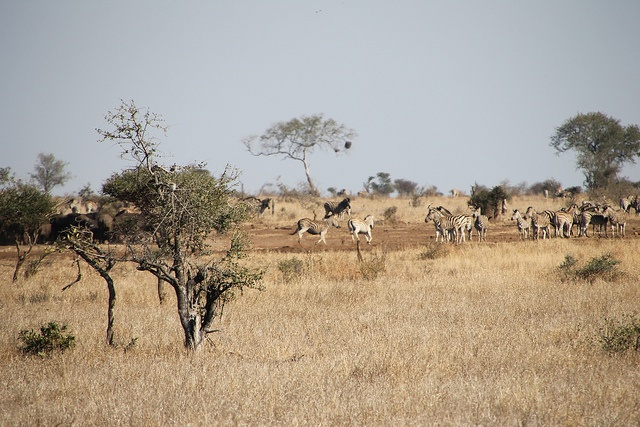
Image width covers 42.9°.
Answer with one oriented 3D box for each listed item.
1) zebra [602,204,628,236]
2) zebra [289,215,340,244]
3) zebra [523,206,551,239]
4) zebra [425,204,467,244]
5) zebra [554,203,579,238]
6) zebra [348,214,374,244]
[{"bbox_3d":[14.558,0.408,40.308,2.029,1.527,0.542,5,-5,-35],"label":"zebra"},{"bbox_3d":[-0.187,0.868,40.212,1.801,1.351,3.096,-2,-4,-8],"label":"zebra"},{"bbox_3d":[10.717,0.493,40.059,2.146,1.679,0.569,4,0,-39],"label":"zebra"},{"bbox_3d":[6.093,0.526,39.104,2.149,1.705,0.688,1,3,16],"label":"zebra"},{"bbox_3d":[12.581,0.342,41.641,1.158,1.800,3.957,-3,-4,18],"label":"zebra"},{"bbox_3d":[2.019,0.699,39.207,0.561,1.561,2.016,-14,-17,37],"label":"zebra"}]
